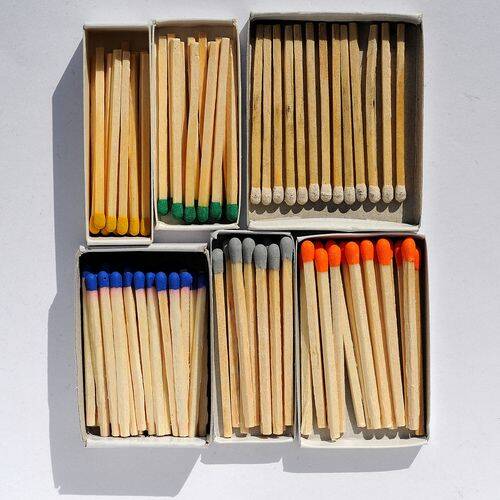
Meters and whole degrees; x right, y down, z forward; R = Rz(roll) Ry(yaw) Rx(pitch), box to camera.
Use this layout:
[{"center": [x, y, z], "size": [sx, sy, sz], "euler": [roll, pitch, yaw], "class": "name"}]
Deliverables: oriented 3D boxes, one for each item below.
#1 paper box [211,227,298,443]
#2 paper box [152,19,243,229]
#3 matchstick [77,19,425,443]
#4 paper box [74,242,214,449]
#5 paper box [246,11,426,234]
[{"center": [0.010, 0.245, 2.893], "size": [0.257, 0.592, 0.270], "euler": [-1, 5, -3], "class": "paper box"}, {"center": [-0.154, -0.355, 2.751], "size": [0.252, 0.592, 0.165], "euler": [-3, 6, -3], "class": "paper box"}, {"center": [0.070, -0.020, 2.897], "size": [0.979, 1.219, 0.273], "euler": [-1, -2, -4], "class": "matchstick"}, {"center": [-0.308, 0.281, 2.653], "size": [0.369, 0.602, 0.195], "euler": [-2, 1, -5], "class": "paper box"}, {"center": [0.236, -0.356, 2.685], "size": [0.486, 0.627, 0.167], "euler": [-3, 1, -4], "class": "paper box"}]
